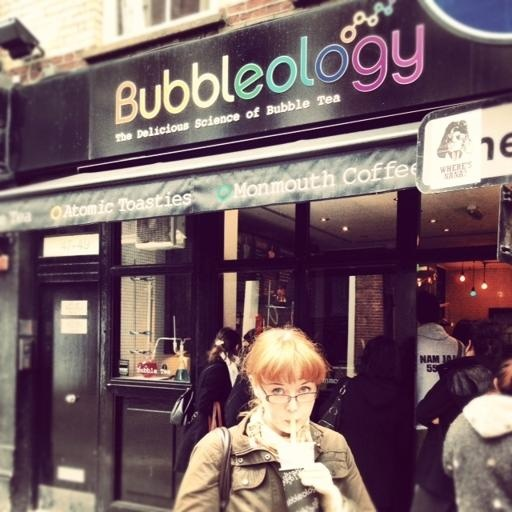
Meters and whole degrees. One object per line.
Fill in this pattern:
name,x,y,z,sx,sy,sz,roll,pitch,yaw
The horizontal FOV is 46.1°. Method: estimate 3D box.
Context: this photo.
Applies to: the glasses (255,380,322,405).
glasses,0.130,0.615,2.711,0.289,0.099,0.109,0,-5,0
